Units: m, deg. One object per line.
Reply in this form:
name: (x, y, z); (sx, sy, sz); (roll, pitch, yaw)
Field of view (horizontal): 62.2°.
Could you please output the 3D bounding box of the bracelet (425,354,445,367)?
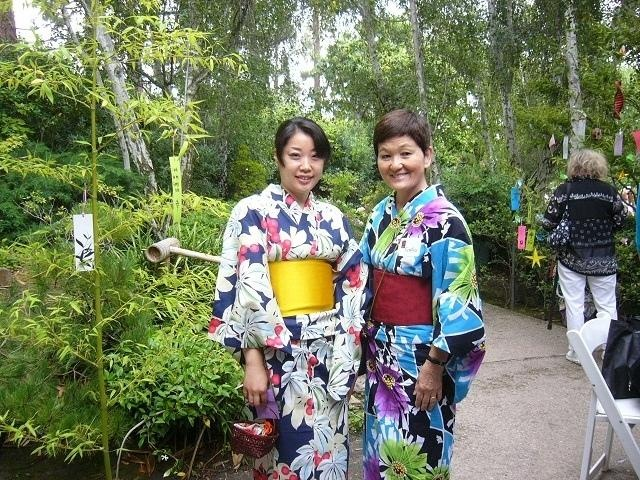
bracelet: (0.627, 0.629, 2.817); (0.061, 0.031, 0.084); (13, -9, 2)
